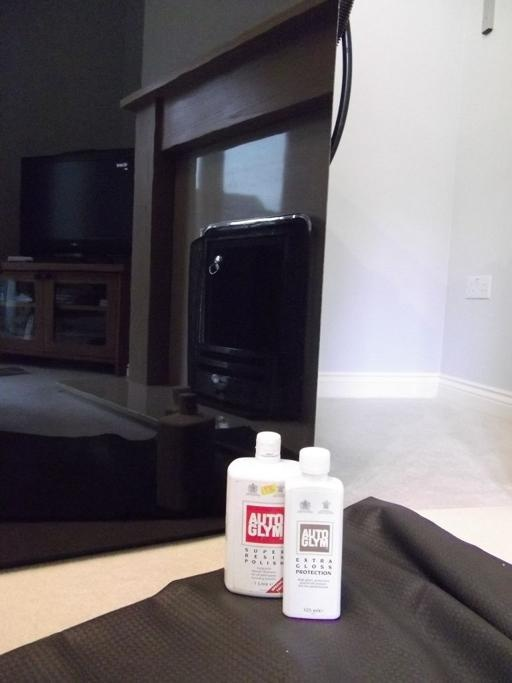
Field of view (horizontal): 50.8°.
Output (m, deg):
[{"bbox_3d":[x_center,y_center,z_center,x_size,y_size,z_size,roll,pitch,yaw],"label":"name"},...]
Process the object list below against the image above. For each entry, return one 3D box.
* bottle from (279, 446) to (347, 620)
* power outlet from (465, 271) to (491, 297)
[{"bbox_3d":[0.064,0.213,0.627,0.070,0.187,0.073,-2,2,0],"label":"bottle"},{"bbox_3d":[1.088,-0.264,2.643,0.032,0.126,0.156,-3,2,-19],"label":"power outlet"}]
